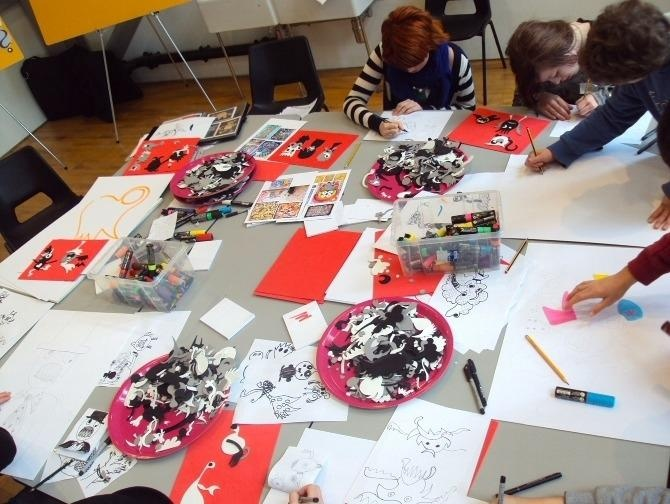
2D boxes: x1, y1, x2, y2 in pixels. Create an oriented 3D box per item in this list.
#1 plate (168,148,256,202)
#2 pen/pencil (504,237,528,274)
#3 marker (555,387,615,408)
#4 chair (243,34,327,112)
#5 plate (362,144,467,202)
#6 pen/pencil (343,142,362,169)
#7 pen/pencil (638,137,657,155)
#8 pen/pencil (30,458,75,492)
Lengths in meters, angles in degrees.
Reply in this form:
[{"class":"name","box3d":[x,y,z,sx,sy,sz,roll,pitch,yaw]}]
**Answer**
[{"class":"plate","box3d":[-0.565,-0.375,2.106,0.426,0.217,0.371,-11,40,-14]},{"class":"pen/pencil","box3d":[0.573,0.012,1.437,0.011,0.012,0.147,39,61,-4]},{"class":"marker","box3d":[0.616,0.353,1.150,0.155,0.039,0.047,7,75,15]},{"class":"chair","box3d":[-0.312,-1.004,2.660,0.475,0.366,0.360,-4,46,6]},{"class":"plate","box3d":[0.312,-0.321,1.763,0.260,0.048,0.321,-4,41,15]},{"class":"pen/pencil","box3d":[0.090,-0.425,1.968,0.027,0.028,0.281,15,44,11]},{"class":"pen/pencil","box3d":[1.107,-0.376,1.609,0.012,0.010,0.090,42,83,14]},{"class":"pen/pencil","box3d":[-0.792,0.622,1.274,0.107,0.015,0.027,-36,49,-11]}]
